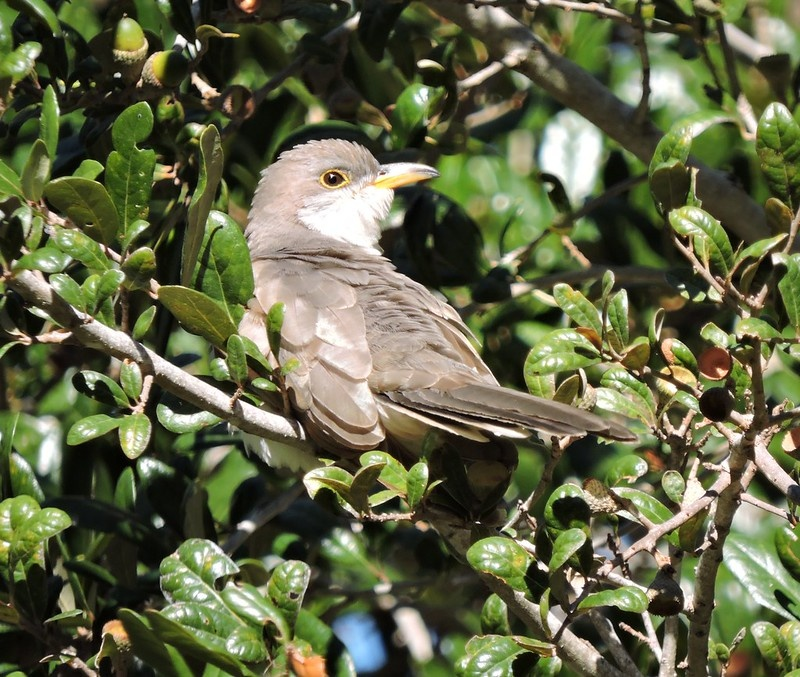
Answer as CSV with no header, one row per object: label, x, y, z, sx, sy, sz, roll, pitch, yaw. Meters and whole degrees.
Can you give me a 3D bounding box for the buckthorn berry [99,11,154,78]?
buckthorn berry,-1.039,-1.094,4.950,0.158,0.275,0.169,26,48,26
